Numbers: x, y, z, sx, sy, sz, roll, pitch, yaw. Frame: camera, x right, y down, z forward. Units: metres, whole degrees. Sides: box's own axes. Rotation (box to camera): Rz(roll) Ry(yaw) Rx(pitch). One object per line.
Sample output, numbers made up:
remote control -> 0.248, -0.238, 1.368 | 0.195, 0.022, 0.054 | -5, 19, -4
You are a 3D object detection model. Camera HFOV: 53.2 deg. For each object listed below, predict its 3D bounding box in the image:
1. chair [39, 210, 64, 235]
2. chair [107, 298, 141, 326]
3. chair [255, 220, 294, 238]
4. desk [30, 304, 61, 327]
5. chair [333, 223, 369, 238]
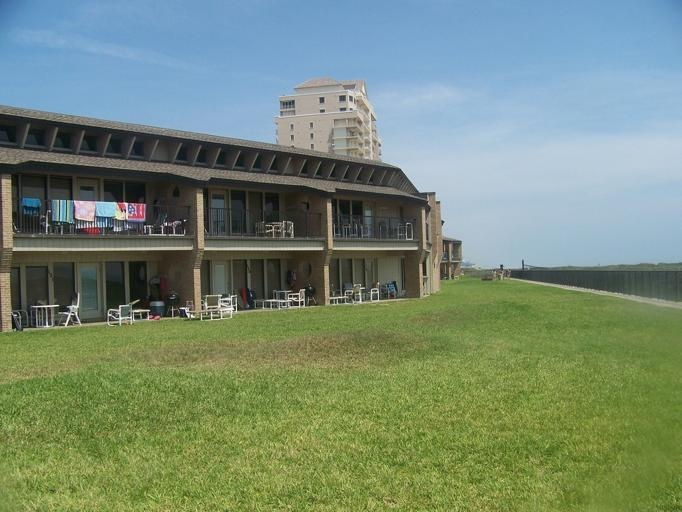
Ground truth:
chair -> -10.435, -1.173, 24.542 | 1.011, 1.133, 0.619 | 0, 1, 8
chair -> -8.327, 2.109, 25.689 | 1.431, 1.086, 0.908 | 0, 0, 38
chair -> -3.008, -1.245, 31.364 | 1.751, 0.755, 1.445 | -3, 6, -7
desk -> -11.022, 2.098, 25.340 | 0.979, 0.924, 2.562 | -5, 6, -23
chair -> 0.505, -1.287, 34.361 | 0.484, 0.789, 2.638 | 3, 8, 41
